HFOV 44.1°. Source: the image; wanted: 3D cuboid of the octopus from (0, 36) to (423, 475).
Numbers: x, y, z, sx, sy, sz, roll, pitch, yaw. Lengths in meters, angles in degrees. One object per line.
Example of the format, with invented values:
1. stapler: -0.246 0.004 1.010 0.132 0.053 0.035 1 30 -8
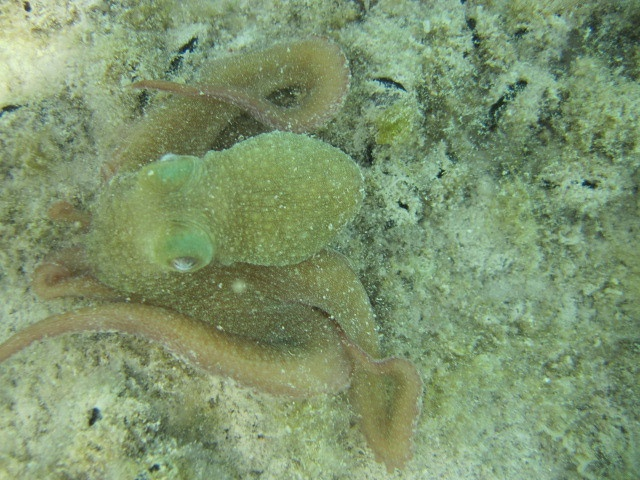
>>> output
1. octopus: -0.421 -0.134 4.384 2.120 0.557 1.922 16 85 1
